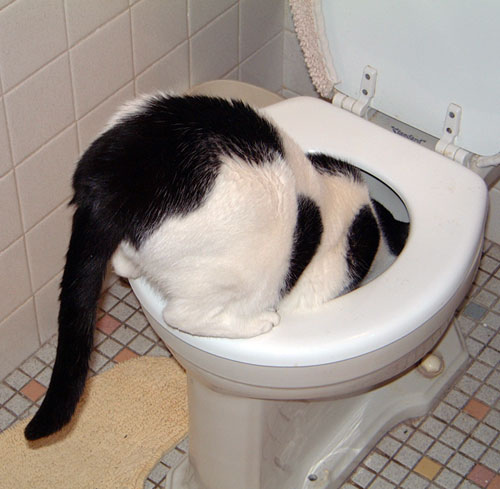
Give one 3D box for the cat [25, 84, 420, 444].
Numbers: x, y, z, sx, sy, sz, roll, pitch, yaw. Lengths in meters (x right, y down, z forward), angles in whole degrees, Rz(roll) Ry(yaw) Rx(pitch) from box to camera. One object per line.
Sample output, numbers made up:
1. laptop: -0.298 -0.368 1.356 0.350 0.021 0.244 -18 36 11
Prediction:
1. cat: 0.027 -0.037 0.690 0.472 0.277 0.205 1 28 -29
